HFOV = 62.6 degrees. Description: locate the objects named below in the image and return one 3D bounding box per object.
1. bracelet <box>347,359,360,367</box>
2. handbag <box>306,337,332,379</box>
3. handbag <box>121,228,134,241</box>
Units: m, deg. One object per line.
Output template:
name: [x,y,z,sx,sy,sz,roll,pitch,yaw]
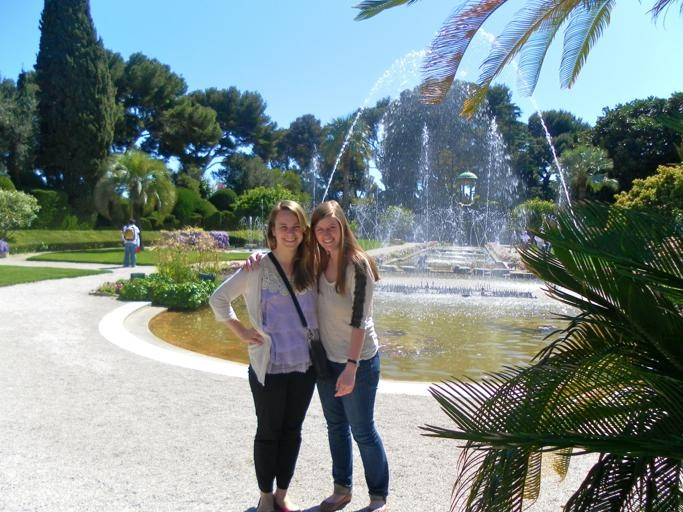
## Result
bracelet: [0.087,0.688,3.671,0.049,0.029,0.049,18,-16,-39]
handbag: [-0.152,0.677,3.777,0.085,0.312,0.210,-18,0,14]
handbag: [-8.151,-0.835,21.358,0.366,0.439,0.408,-1,-2,-1]
